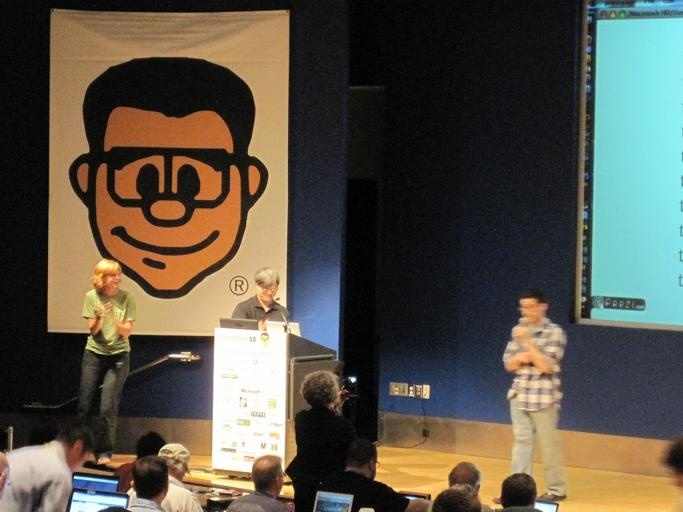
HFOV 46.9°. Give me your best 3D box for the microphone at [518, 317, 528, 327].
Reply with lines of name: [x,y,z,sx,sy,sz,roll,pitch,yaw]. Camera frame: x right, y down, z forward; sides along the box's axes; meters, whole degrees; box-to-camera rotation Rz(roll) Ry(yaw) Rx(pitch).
microphone: [1.626,0.589,7.017,0.072,0.072,0.077,1,-2,-12]

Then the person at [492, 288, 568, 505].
person: [1.694,1.194,6.884,0.555,1.798,0.316,1,-5,18]

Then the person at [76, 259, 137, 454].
person: [-2.256,0.992,7.442,0.469,1.895,0.730,4,-5,-19]
